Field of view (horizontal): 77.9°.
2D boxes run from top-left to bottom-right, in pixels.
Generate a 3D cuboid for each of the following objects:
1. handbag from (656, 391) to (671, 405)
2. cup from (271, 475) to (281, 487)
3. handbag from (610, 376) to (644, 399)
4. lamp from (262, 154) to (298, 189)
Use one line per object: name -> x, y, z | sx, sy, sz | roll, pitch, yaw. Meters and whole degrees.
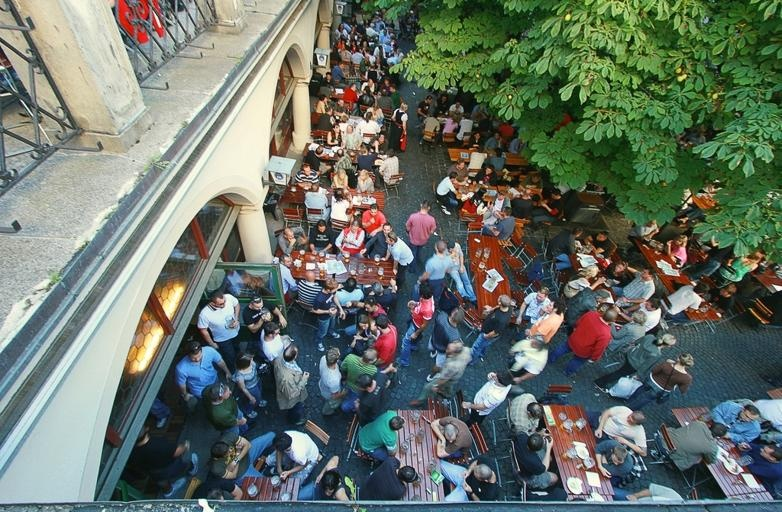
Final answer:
handbag -> 5.989, 3.082, 10.529 | 0.306, 0.436, 0.238 | -44, 61, 5
cup -> -2.039, 3.905, 8.464 | 0.158, 0.130, 0.156 | 2, 45, -2
handbag -> 5.180, 2.915, 10.479 | 0.575, 0.205, 0.501 | 22, 75, 44
lamp -> -2.576, -1.956, 11.219 | 0.676, 0.421, 0.701 | 9, 74, 0
